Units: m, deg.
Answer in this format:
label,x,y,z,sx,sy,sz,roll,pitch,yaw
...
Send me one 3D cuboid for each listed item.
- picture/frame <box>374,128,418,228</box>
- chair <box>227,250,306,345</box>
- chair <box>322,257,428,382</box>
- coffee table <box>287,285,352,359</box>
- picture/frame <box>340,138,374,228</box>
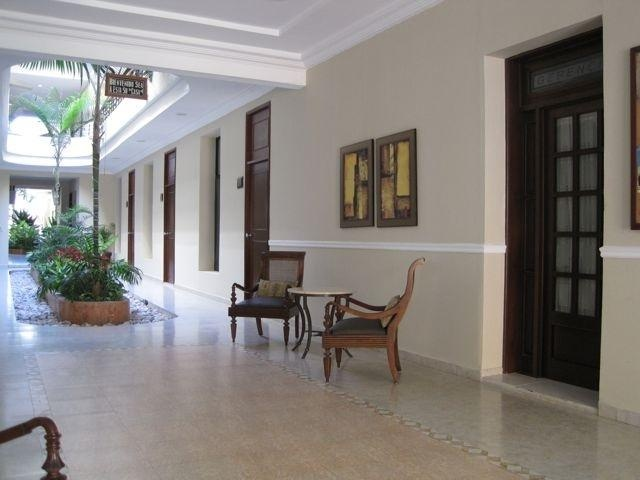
label,x,y,z,sx,sy,sz,roll,pitch,yaw
picture/frame,0.940,-0.735,5.646,0.066,1.136,0.722,-1,2,-32
chair,-0.713,0.753,6.294,0.962,1.287,1.075,1,-4,-1
chair,0.597,0.850,4.973,1.253,1.256,1.201,3,-4,-22
coffee table,-0.023,1.038,5.778,0.834,0.858,0.846,4,-9,-24
picture/frame,0.510,-0.745,6.266,0.061,1.139,0.703,-1,2,-33
